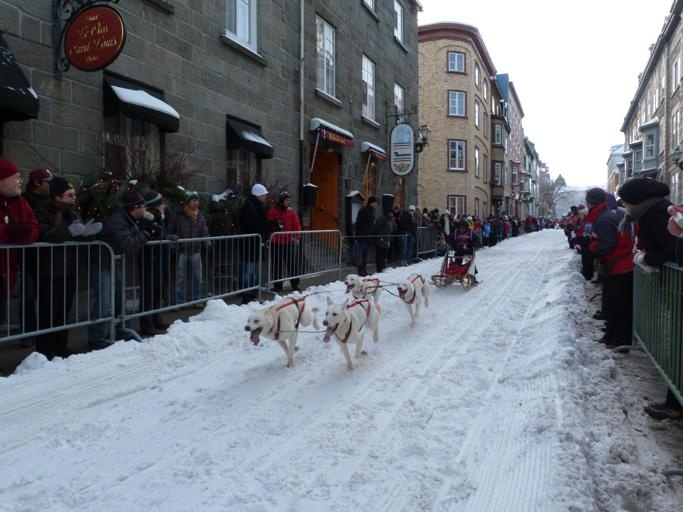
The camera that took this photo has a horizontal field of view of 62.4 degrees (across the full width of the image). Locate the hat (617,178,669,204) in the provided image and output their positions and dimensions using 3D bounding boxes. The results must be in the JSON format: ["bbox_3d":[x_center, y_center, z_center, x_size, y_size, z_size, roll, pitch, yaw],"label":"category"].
[{"bbox_3d":[3.825,-0.839,7.093,0.452,0.241,0.413,-2,2,-9],"label":"hat"}]

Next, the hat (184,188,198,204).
[{"bbox_3d":[-2.606,-1.068,9.868,0.254,0.284,0.201,11,13,41],"label":"hat"}]

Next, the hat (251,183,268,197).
[{"bbox_3d":[-1.590,-1.276,10.956,0.303,0.254,0.265,-2,17,-1],"label":"hat"}]

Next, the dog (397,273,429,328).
[{"bbox_3d":[1.347,0.715,10.142,0.303,0.870,1.238,-6,12,27],"label":"dog"}]

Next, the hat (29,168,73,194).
[{"bbox_3d":[-3.872,-0.986,7.447,0.473,0.331,0.328,0,9,-10],"label":"hat"}]

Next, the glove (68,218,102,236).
[{"bbox_3d":[-3.452,-0.380,7.635,0.280,0.263,0.627,2,10,4],"label":"glove"}]

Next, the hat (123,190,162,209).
[{"bbox_3d":[-2.980,-0.846,8.286,0.342,0.214,0.226,-3,13,-43],"label":"hat"}]
